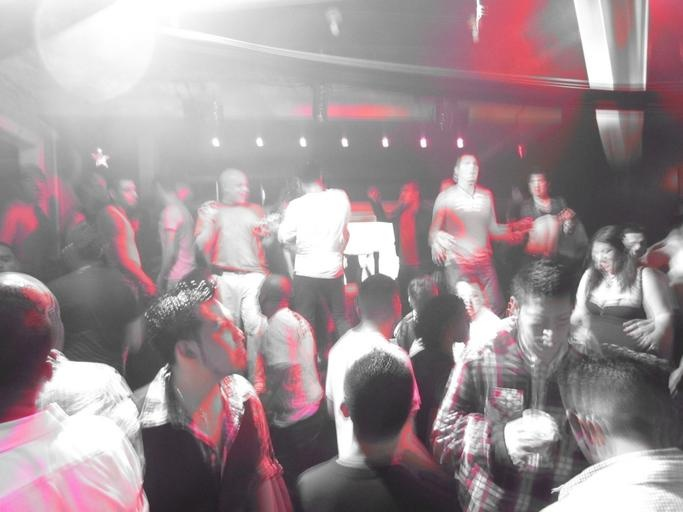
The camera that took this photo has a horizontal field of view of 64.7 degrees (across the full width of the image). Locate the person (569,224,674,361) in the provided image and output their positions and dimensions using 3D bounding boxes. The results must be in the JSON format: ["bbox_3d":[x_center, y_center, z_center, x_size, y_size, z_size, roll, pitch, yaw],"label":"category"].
[{"bbox_3d":[2.140,0.314,4.088,0.446,0.838,0.568,18,-32,-28],"label":"person"}]

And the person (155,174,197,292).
[{"bbox_3d":[-1.301,-0.144,4.204,0.212,0.300,0.807,-12,39,-3],"label":"person"}]
